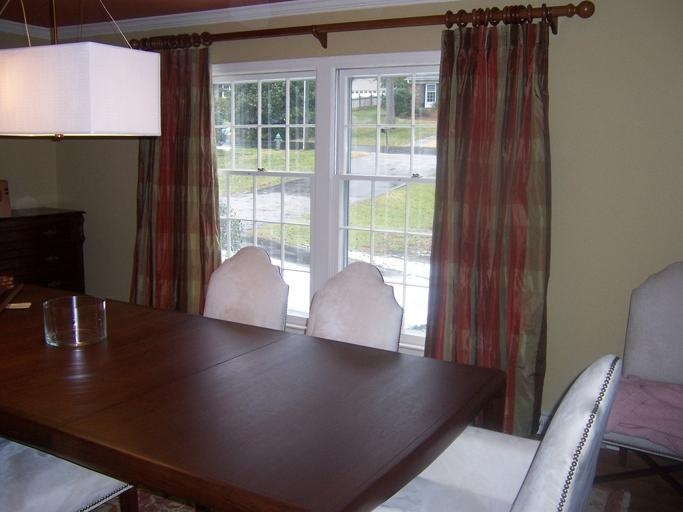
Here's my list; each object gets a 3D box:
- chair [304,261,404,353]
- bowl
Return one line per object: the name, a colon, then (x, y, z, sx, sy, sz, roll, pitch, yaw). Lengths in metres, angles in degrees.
chair: (0.096, 0.205, 2.789, 0.395, 0.741, 0.471, 5, 5, 16)
bowl: (-1.174, 0.278, 2.315, 0.227, 0.180, 0.234, -1, 8, 0)
